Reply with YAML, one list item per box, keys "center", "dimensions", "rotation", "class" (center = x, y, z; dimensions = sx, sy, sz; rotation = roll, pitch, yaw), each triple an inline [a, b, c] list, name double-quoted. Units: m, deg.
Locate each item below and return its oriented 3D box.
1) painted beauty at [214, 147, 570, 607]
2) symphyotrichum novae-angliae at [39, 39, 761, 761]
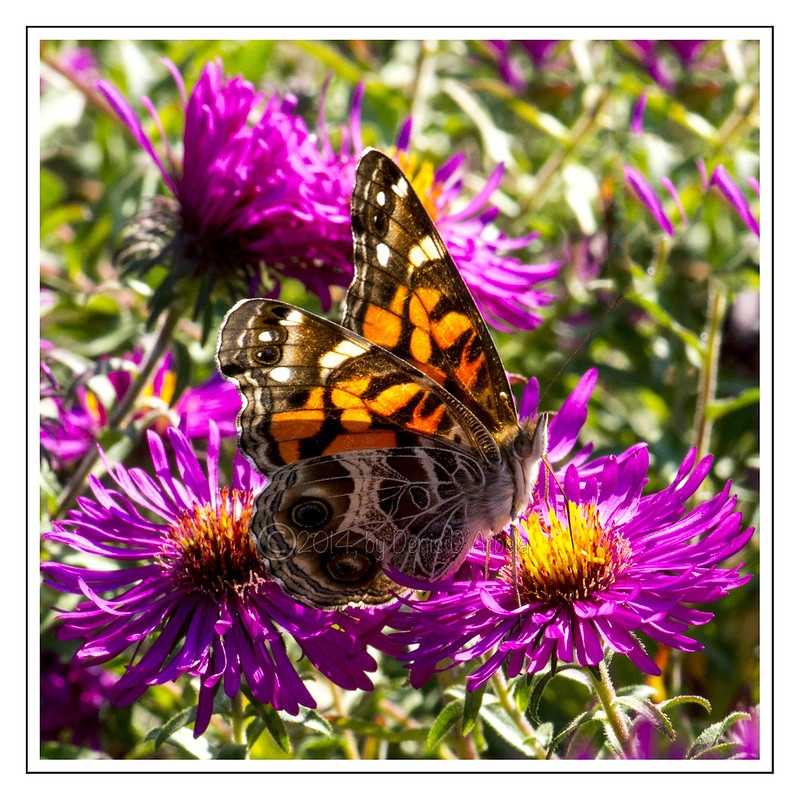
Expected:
- center: [0.044, -0.001, 1.362]
  dimensions: [0.421, 0.468, 0.596]
  rotation: [4, 101, 14]
  class: "painted beauty"
- center: [-0.029, -0.077, 1.932]
  dimensions: [1.583, 0.636, 1.546]
  rotation: [4, 87, -4]
  class: "symphyotrichum novae-angliae"
